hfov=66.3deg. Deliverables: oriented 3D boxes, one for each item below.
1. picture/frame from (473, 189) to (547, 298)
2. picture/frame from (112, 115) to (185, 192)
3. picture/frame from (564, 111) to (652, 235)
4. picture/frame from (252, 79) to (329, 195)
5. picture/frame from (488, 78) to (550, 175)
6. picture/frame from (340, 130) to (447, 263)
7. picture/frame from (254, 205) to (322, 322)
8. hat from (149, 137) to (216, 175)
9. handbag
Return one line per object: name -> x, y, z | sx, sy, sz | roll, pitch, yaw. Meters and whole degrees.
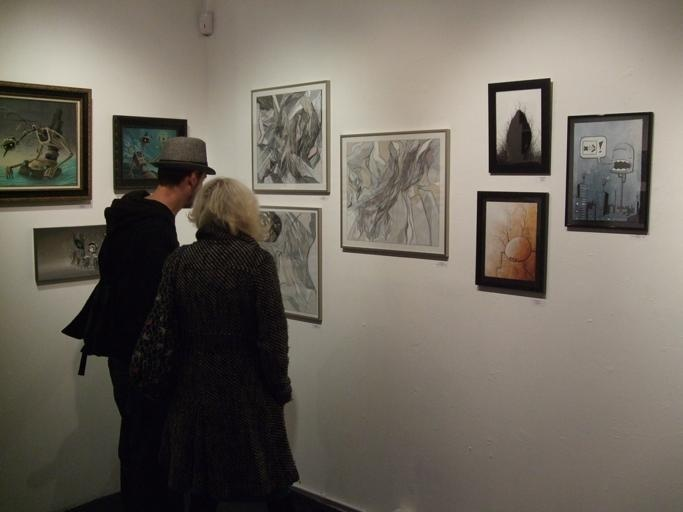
picture/frame -> 1.104, -0.077, 3.402 | 0.405, 0.711, 0.045 | 1, -25, 18
picture/frame -> -1.521, -0.784, 4.063 | 0.039, 0.626, 0.531 | 14, 19, 43
picture/frame -> 1.581, -0.494, 3.118 | 0.434, 0.790, 0.021 | 1, -23, 31
picture/frame -> -0.376, -0.956, 4.132 | 0.791, 1.120, 0.035 | 6, 9, 36
picture/frame -> 1.125, -0.812, 3.338 | 0.372, 0.594, 0.032 | 6, 36, 27
picture/frame -> 0.372, -0.446, 3.765 | 0.769, 0.963, 0.031 | 5, 35, 14
picture/frame -> -0.365, 0.051, 3.851 | 0.740, 1.073, 0.036 | 3, 6, 32
hat -> -1.099, -0.684, 3.662 | 0.440, 0.283, 0.415 | 1, 6, -3
handbag -> -1.065, 0.409, 3.077 | 0.194, 0.819, 0.541 | 7, 2, 4
